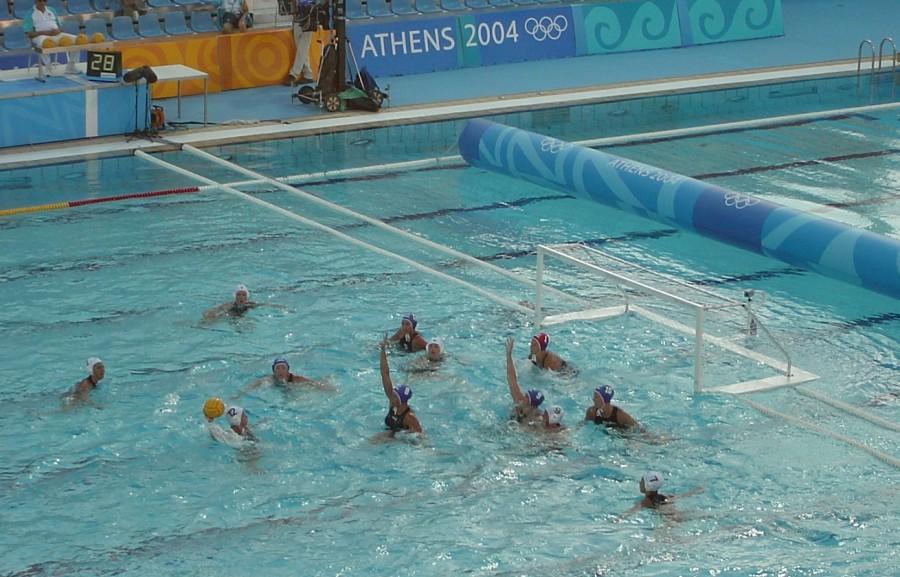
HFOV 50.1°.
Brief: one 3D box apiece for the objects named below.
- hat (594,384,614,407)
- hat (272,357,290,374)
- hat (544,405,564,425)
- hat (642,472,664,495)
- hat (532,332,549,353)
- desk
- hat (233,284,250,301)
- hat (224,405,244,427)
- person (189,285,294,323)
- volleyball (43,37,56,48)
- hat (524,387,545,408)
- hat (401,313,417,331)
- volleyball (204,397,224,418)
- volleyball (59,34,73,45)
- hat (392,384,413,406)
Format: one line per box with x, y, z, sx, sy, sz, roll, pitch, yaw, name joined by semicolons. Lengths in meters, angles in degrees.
1.436;0.995;8.921;0.170;0.169;0.117;-10;21;-18;hat
-1.652;0.743;9.401;0.154;0.144;0.209;-8;18;-14;hat
0.963;1.170;8.878;0.143;0.218;0.226;0;19;9;hat
1.689;1.622;8.056;0.198;0.146;0.114;-1;-8;1;hat
0.926;0.536;9.754;0.199;0.169;0.147;-22;8;0;hat
-4.039;-2.969;15.095;1.428;0.629;1.339;-8;16;-42;desk
-2.249;0.051;10.503;0.196;0.200;0.171;1;47;-4;hat
-1.937;1.140;8.669;0.192;0.159;0.151;0;7;-41;hat
-2.366;0.195;10.493;1.163;0.342;0.414;-7;26;-12;person
-5.953;-3.626;14.239;0.166;0.152;0.357;-9;18;-18;volleyball
0.789;1.015;8.996;0.168;0.165;0.137;0;21;22;hat
-0.426;0.348;9.988;0.132;0.174;0.291;-5;17;-3;hat
-2.145;1.096;8.841;0.216;0.166;0.201;-3;7;-40;volleyball
-5.805;-3.746;14.549;0.194;0.157;0.337;-8;18;-15;volleyball
-0.441;0.987;8.870;0.156;0.181;0.103;0;21;9;hat
